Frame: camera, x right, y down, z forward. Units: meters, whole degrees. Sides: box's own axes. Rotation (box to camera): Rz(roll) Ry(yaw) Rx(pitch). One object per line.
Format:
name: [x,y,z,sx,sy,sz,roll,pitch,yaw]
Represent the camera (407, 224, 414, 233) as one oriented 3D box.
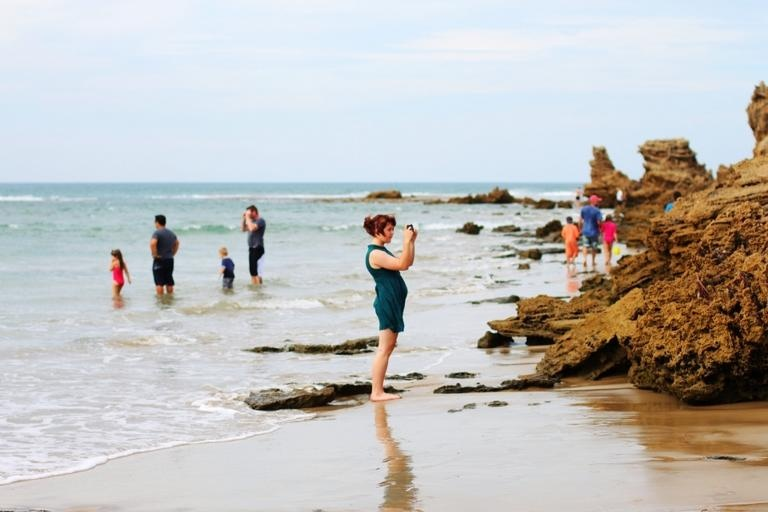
camera: [0.363,-0.434,20.123,0.086,0.093,0.054,-5,0,-2]
